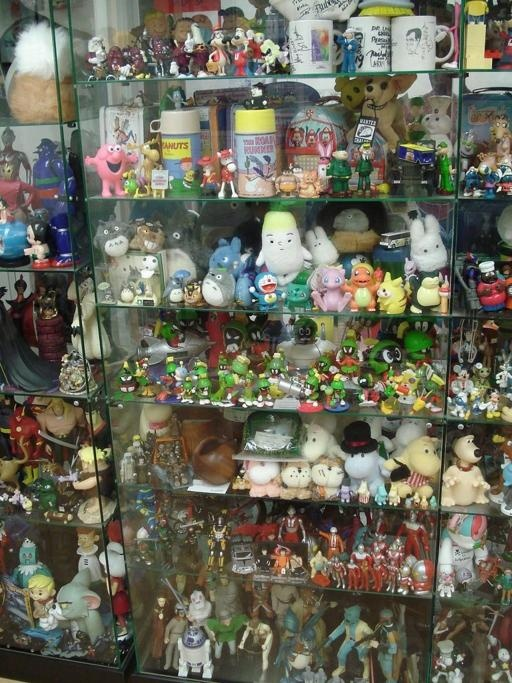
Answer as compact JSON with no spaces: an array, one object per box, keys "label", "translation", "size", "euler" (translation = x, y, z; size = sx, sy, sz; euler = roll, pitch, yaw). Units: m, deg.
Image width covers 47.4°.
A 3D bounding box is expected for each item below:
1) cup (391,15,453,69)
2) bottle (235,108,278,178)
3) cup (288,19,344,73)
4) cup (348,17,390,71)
[{"label":"cup","translation":[0.360,-0.669,1.301],"size":[0.160,0.112,0.096],"euler":[-5,26,-8]},{"label":"bottle","translation":[-0.001,-0.499,1.480],"size":[0.107,0.164,0.081],"euler":[-5,18,-1]},{"label":"cup","translation":[0.129,-0.677,1.354],"size":[0.134,0.108,0.100],"euler":[5,19,18]},{"label":"cup","translation":[0.261,-0.677,1.350],"size":[0.126,0.111,0.105],"euler":[-2,16,-7]}]
